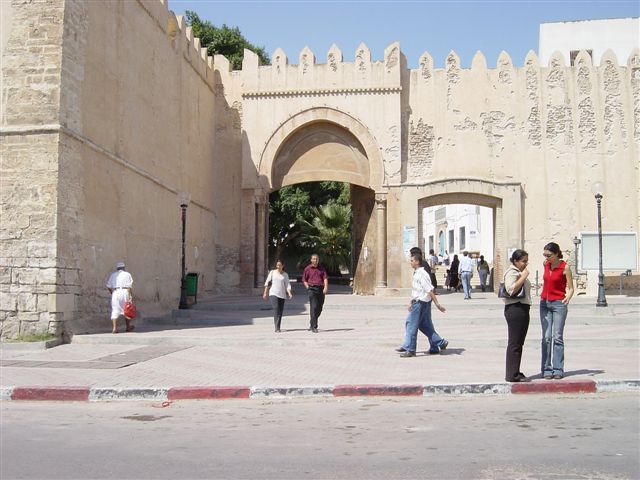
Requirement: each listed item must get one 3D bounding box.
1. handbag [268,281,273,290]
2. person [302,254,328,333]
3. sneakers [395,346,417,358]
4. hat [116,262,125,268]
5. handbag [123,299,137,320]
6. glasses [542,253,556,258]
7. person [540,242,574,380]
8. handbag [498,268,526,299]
[{"bbox_3d":[-1.303,1.151,22.129,0.043,0.174,0.178,1,3,32],"label":"handbag"},{"bbox_3d":[-0.153,1.327,21.506,0.577,1.955,0.915,2,-4,-2],"label":"person"},{"bbox_3d":[1.828,2.373,18.280,0.461,0.216,0.177,6,0,2],"label":"sneakers"},{"bbox_3d":[-5.098,0.617,21.845,0.139,0.108,0.214,-1,-9,-10],"label":"hat"},{"bbox_3d":[-4.762,1.724,21.399,0.269,0.475,0.383,3,-5,-13],"label":"handbag"},{"bbox_3d":[4.445,0.280,16.626,0.187,0.060,0.183,8,-7,-27],"label":"glasses"},{"bbox_3d":[4.468,1.330,16.211,0.562,2.557,0.728,1,-5,16],"label":"person"},{"bbox_3d":[3.526,0.787,15.997,0.622,0.767,0.396,1,-5,4],"label":"handbag"}]
